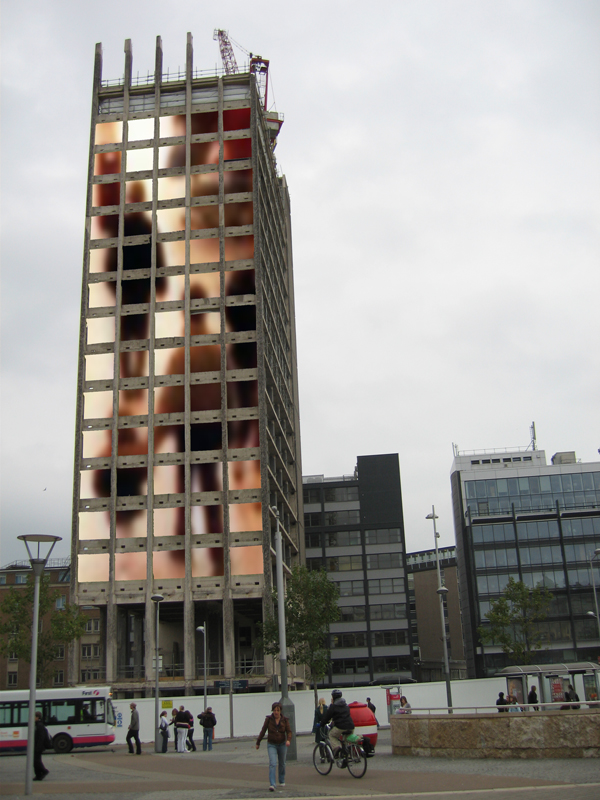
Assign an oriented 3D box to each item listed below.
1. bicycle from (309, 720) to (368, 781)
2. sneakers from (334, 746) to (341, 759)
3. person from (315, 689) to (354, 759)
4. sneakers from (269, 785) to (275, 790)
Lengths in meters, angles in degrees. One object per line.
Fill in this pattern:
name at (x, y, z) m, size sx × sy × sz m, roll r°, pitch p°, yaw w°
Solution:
bicycle at (0.744, 7.051, 17.776) m, size 0.621 × 0.900 × 1.613 m, roll -24°, pitch -33°, yaw 38°
sneakers at (0.752, 7.098, 17.781) m, size 0.173 × 0.267 × 0.154 m, roll -1°, pitch -22°, yaw 0°
person at (0.689, 6.700, 18.190) m, size 0.711 × 1.285 × 0.824 m, roll 9°, pitch -29°, yaw -19°
sneakers at (-0.500, 6.829, 15.554) m, size 0.050 × 0.064 × 0.145 m, roll 1°, pitch -8°, yaw 1°
